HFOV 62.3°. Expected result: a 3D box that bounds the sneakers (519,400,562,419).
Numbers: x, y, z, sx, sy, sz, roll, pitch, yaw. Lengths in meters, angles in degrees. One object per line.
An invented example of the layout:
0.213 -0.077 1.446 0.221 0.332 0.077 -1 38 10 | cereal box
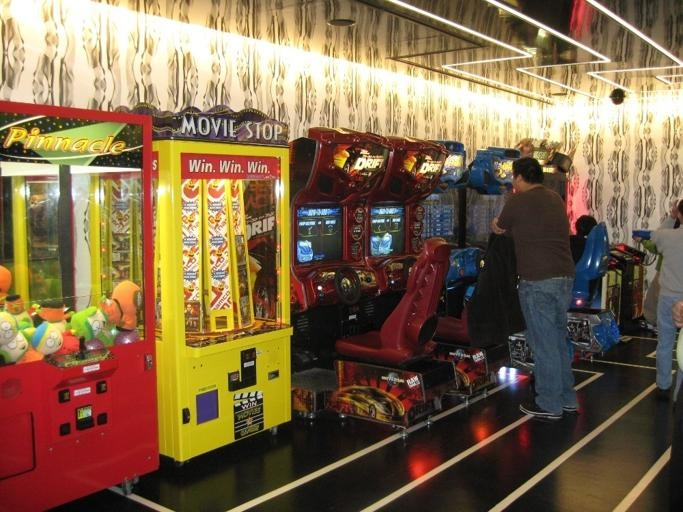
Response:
1.639 1.250 4.621 0.120 0.127 0.292 1 5 -43 | sneakers

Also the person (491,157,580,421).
1.647 0.234 4.754 0.590 2.110 0.632 -4 5 -11 | person

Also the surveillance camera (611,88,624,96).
3.900 -2.303 7.894 0.126 0.076 0.094 7 7 8 | surveillance camera

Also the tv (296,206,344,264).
-0.201 -0.197 4.957 0.469 0.475 0.049 -5 6 -44 | tv

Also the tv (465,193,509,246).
1.555 -0.392 6.097 0.271 0.547 0.539 4 8 35 | tv
